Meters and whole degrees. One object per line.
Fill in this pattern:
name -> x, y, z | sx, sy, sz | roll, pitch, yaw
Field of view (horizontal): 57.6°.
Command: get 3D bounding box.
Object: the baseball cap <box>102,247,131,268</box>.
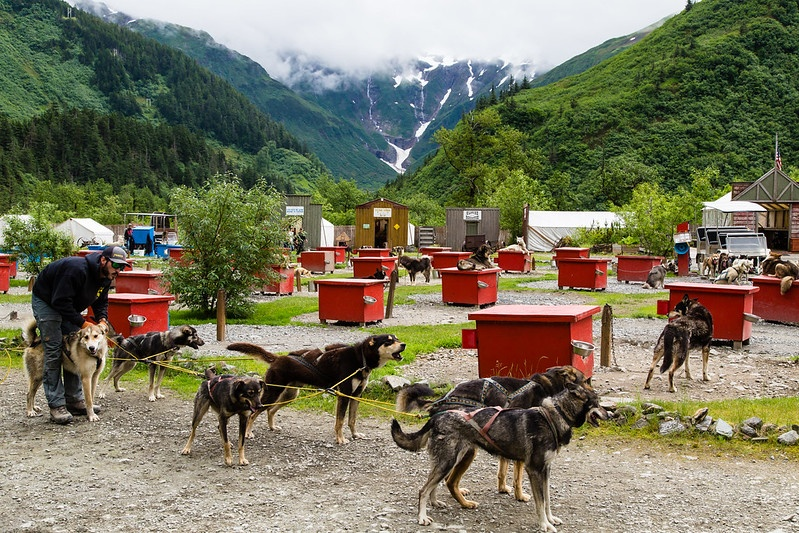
baseball cap -> -5.657, -0.210, 14.457 | 0.504, 0.274, 0.337 | 20, 7, 33

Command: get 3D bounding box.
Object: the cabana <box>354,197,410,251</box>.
cabana -> -1.494, -3.978, 66.247 | 4.636, 4.441, 4.672 | 1, 3, 8

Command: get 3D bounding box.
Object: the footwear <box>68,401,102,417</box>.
footwear -> -6.343, 2.860, 14.690 | 0.715, 0.317, 0.259 | 0, 5, -12

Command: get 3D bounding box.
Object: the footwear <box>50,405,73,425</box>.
footwear -> -6.700, 2.907, 14.226 | 0.489, 0.300, 0.264 | 0, 13, 0
